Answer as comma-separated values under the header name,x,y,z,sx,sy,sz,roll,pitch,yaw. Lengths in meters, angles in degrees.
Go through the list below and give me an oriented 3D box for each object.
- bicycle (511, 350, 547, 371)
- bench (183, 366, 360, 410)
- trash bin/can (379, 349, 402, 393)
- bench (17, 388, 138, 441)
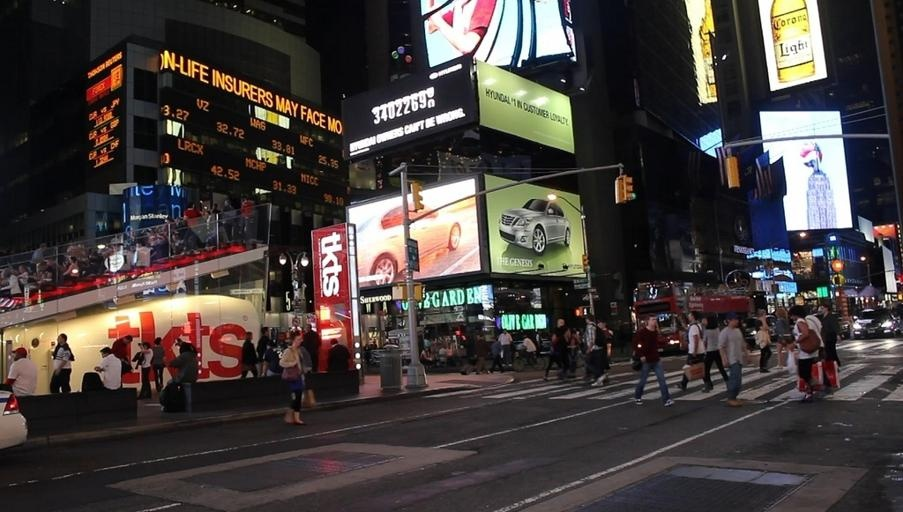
name,x,y,z,sx,sy,sz,roll,pitch,yaw
bicycle,5.584,7.663,53.032,2.338,0.738,1.570,-1,-5,-27
bench,-9.376,6.904,37.746,8.124,1.513,1.435,-2,-8,-21
trash bin/can,-3.514,6.415,41.046,1.184,2.334,1.741,-5,-7,-5
bench,-17.494,7.088,33.616,4.543,1.686,1.221,0,-9,-33
